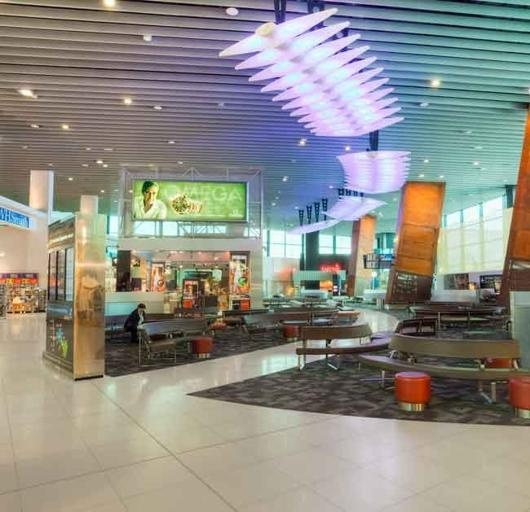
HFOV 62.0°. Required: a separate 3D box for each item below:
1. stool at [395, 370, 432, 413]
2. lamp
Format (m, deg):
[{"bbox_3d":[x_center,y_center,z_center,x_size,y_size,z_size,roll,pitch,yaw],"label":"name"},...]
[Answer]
[{"bbox_3d":[1.673,1.538,5.021,0.422,0.324,0.382,-3,-7,29],"label":"stool"},{"bbox_3d":[0.915,-2.233,7.235,2.612,1.559,3.860,-4,-38,22],"label":"lamp"}]
